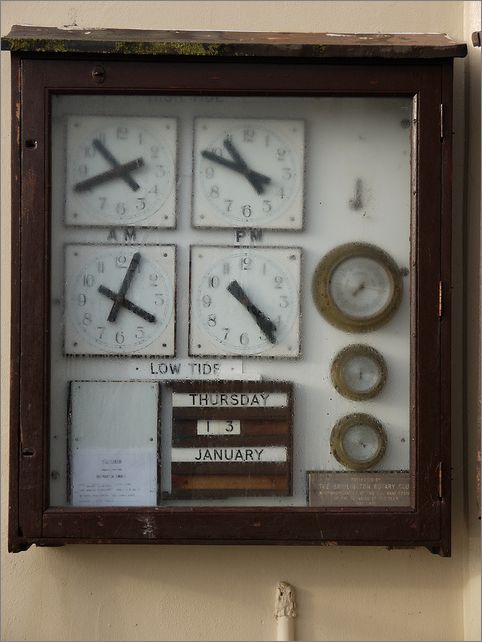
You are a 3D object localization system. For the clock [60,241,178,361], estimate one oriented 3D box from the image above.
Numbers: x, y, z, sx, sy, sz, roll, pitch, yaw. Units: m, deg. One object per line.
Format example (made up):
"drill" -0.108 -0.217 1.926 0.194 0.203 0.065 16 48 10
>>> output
"clock" -0.275 -0.033 3.133 0.171 0.029 0.256 1 -94 0

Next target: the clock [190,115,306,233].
"clock" 0.006 -0.329 3.135 0.167 0.022 0.251 1 -92 2

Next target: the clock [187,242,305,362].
"clock" 0.002 -0.033 3.135 0.171 0.027 0.256 1 -94 0

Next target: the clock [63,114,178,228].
"clock" -0.272 -0.336 3.134 0.162 0.016 0.243 1 -93 -1
